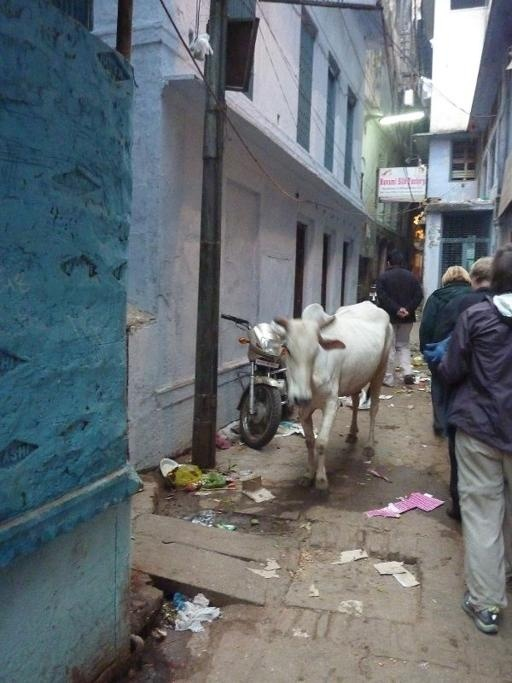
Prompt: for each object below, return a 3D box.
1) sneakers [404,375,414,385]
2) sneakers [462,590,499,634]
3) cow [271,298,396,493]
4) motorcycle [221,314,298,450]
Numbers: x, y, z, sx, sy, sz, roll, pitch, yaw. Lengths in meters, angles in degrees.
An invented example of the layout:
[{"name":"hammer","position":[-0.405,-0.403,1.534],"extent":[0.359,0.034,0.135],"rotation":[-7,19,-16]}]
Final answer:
[{"name":"sneakers","position":[2.309,0.592,8.596],"extent":[0.092,0.118,0.197],"rotation":[-2,0,28]},{"name":"sneakers","position":[1.058,1.250,2.716],"extent":[0.096,0.136,0.300],"rotation":[3,4,-4]},{"name":"cow","position":[0.697,0.345,4.791],"extent":[0.569,1.431,2.003],"rotation":[4,10,30]},{"name":"motorcycle","position":[0.109,0.379,5.994],"extent":[0.738,1.188,1.653],"rotation":[4,4,2]}]
